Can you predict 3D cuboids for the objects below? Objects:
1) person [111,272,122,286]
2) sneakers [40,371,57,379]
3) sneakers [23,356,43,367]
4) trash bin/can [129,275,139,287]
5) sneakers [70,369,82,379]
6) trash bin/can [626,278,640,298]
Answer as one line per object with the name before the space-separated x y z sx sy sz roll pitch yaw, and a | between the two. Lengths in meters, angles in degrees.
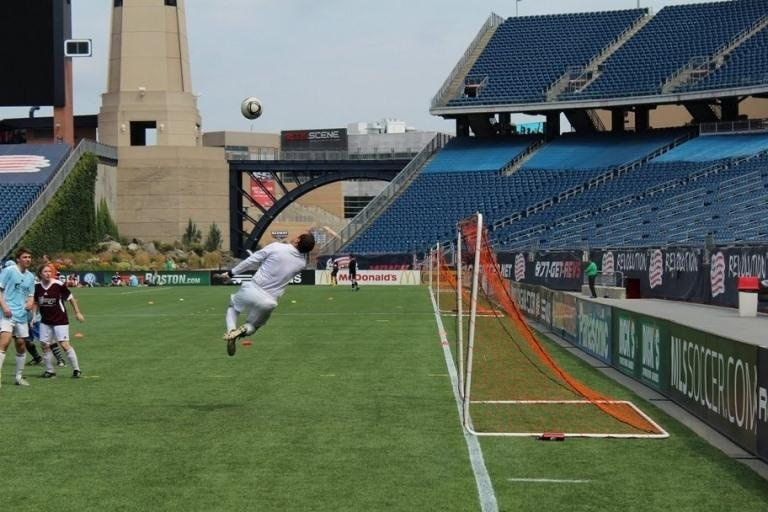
person | -16.513 1.403 63.189 0.576 0.775 0.741 3 9 -6
sneakers | -8.774 3.083 26.725 0.439 0.186 0.163 1 -1 14
sneakers | -9.718 2.910 28.518 0.196 0.226 0.533 2 4 -8
trash bin/can | -15.627 1.522 63.765 0.666 0.769 0.468 2 -5 -31
sneakers | -8.015 3.073 26.649 0.188 0.214 0.507 0 -9 -9
trash bin/can | 11.204 1.423 45.893 0.698 0.832 0.468 0 8 0
